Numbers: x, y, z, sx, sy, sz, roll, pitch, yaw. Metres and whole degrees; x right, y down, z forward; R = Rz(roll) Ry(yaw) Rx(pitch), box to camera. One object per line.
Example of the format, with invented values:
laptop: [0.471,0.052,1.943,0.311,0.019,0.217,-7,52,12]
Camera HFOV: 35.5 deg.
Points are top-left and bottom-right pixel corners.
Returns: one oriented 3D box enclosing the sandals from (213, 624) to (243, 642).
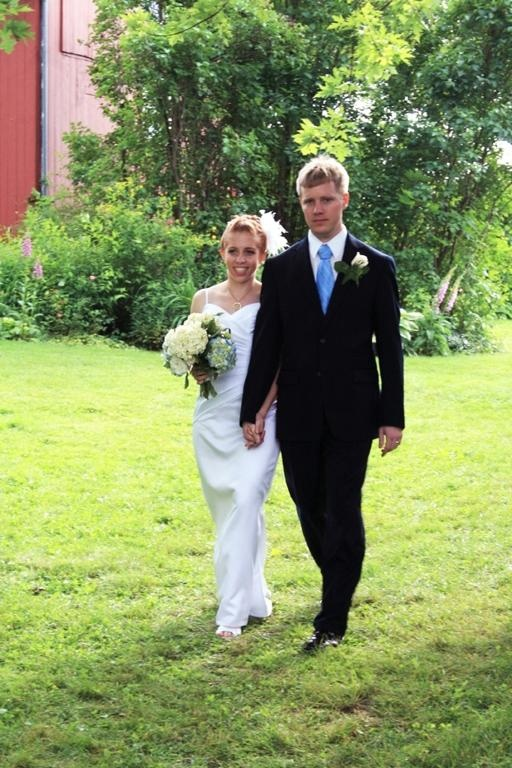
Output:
sandals: [-0.105,1.016,3.265,0.114,0.032,0.101,3,3,-10]

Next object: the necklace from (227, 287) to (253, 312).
necklace: [-0.067,-0.388,3.692,0.143,0.147,0.008,4,-8,24]

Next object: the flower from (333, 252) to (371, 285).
flower: [0.374,-0.451,3.096,0.126,0.124,0.123,4,4,6]

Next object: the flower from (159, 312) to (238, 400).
flower: [-0.247,-0.126,3.525,0.323,0.386,0.252,4,4,-4]

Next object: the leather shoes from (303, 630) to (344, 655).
leather shoes: [0.263,1.018,3.126,0.162,0.055,0.056,2,-8,-32]

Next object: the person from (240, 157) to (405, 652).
person: [0.255,0.071,3.195,0.678,1.926,0.305,6,4,12]
